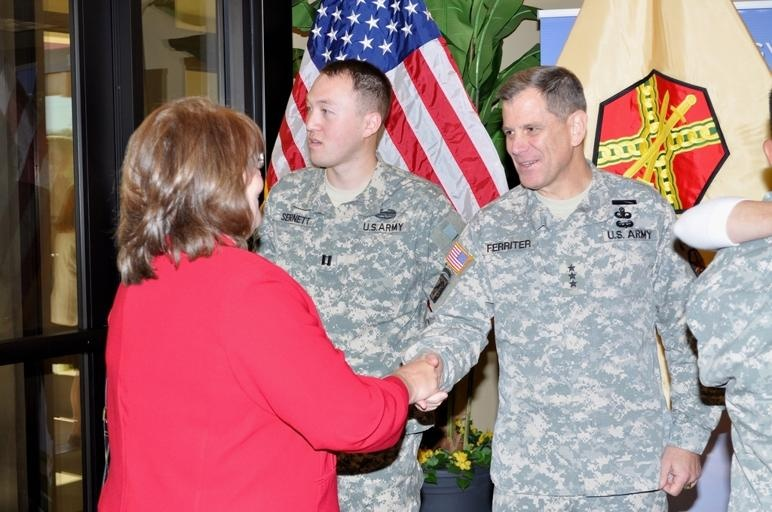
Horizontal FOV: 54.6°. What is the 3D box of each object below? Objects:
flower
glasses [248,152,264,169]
[{"bbox_3d":[0.380,1.000,3.951,0.389,0.266,0.368,4,-8,40],"label":"flower"},{"bbox_3d":[-0.383,-0.282,2.192,0.016,0.044,0.042,6,10,42],"label":"glasses"}]
